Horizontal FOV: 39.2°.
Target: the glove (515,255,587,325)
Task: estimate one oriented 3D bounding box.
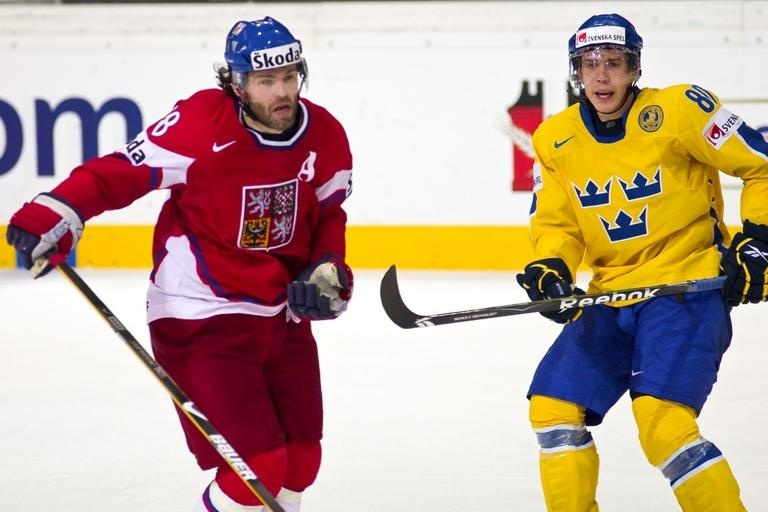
[{"bbox_3d":[0.682,0.118,4.462,0.272,0.273,0.127,-15,-21,17],"label":"glove"}]

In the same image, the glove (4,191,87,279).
[{"bbox_3d":[-1.336,-0.083,4.306,0.349,0.283,0.158,-39,-4,0],"label":"glove"}]

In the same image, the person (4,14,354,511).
[{"bbox_3d":[-0.716,0.060,4.331,1.163,1.965,0.659,-1,16,-3],"label":"person"}]

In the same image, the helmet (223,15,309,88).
[{"bbox_3d":[-0.504,-0.823,4.438,0.280,0.285,0.311,-11,5,-28],"label":"helmet"}]

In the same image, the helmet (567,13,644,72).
[{"bbox_3d":[0.909,-0.887,4.466,0.236,0.224,0.261,-2,-6,19],"label":"helmet"}]
